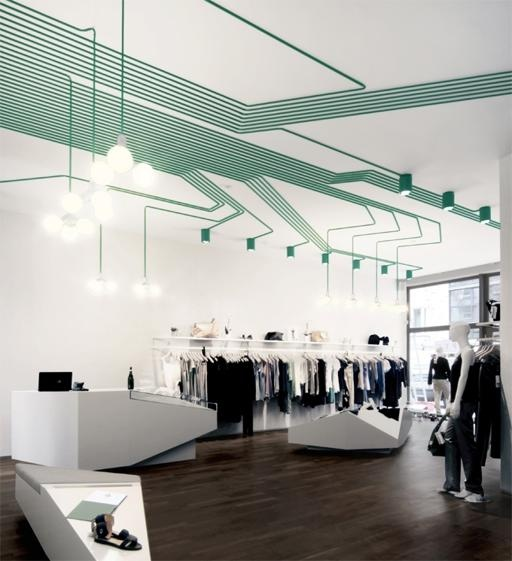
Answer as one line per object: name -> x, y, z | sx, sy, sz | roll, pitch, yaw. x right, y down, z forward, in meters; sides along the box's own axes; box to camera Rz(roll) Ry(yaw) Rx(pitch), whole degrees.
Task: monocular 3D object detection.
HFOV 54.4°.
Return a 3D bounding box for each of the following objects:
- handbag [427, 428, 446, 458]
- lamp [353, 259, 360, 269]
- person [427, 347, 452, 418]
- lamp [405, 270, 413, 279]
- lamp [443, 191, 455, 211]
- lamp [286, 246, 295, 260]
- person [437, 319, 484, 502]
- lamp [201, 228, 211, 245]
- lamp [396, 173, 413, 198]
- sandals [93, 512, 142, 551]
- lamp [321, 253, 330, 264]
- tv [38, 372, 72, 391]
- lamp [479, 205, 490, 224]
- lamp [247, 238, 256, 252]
handbag -> 1.707, 1.558, 4.752 | 0.154, 0.251, 0.095 | 1, 2, 18
lamp -> 1.864, -0.311, 9.349 | 0.156, 0.204, 0.163 | 2, 0, -23
person -> 3.574, 1.934, 9.747 | 0.435, 1.383, 0.260 | -8, 22, 6
lamp -> 3.100, -0.142, 10.185 | 0.157, 0.202, 0.162 | -4, -4, 43
lamp -> 2.294, -0.933, 5.984 | 0.145, 0.188, 0.439 | -2, -8, 21
lamp -> 0.590, -0.504, 8.628 | 0.139, 0.178, 0.158 | 0, -4, 15
person -> 1.887, 1.166, 4.592 | 0.324, 1.559, 0.448 | 1, -6, -6
lamp -> -0.743, -0.678, 7.575 | 0.160, 0.324, 0.167 | 1, -5, -25
lamp -> 1.589, -1.041, 5.474 | 0.175, 0.342, 0.186 | -1, 1, -27
sandals -> -0.643, 1.153, 2.262 | 0.270, 0.165, 0.106 | 3, -1, 8
lamp -> 1.268, -0.406, 8.962 | 0.154, 0.205, 0.158 | 1, 0, -30
tv -> -2.155, 1.095, 5.410 | 0.319, 0.200, 0.189 | 5, -8, -29
lamp -> 2.931, -0.859, 6.464 | 0.113, 0.247, 0.224 | 0, -2, -2
lamp -> -0.079, -0.583, 8.107 | 0.151, 0.198, 0.164 | -1, -5, 8
